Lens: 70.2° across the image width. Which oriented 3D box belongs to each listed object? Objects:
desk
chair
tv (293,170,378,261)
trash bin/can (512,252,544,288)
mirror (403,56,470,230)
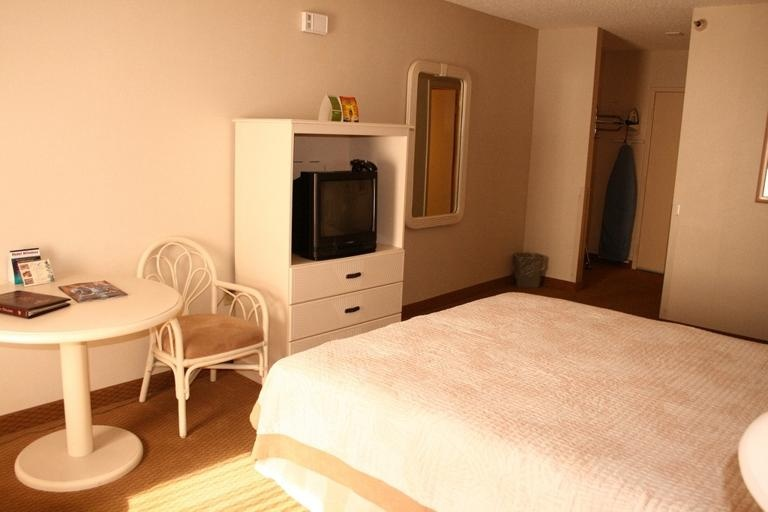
[{"bbox_3d":[-1.662,0.643,3.453,1.228,0.910,1.182,-1,11,-18],"label":"desk"},{"bbox_3d":[-1.228,0.483,3.767,0.793,1.047,0.808,-4,14,-35],"label":"chair"},{"bbox_3d":[-0.388,-0.301,4.110,0.637,0.568,0.359,-9,15,-41],"label":"tv"},{"bbox_3d":[1.753,0.120,6.691,0.466,0.354,0.396,7,13,31],"label":"trash bin/can"},{"bbox_3d":[0.531,-1.332,5.427,0.036,1.007,0.746,-18,32,-40],"label":"mirror"}]
